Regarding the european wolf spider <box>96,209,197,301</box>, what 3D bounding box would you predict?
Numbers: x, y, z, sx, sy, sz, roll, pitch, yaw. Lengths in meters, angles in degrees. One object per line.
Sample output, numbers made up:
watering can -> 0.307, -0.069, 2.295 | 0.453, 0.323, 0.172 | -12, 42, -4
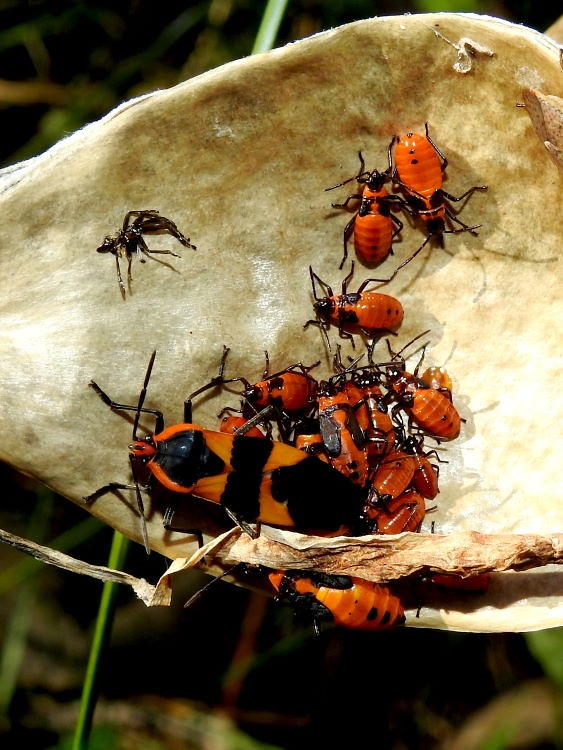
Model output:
european wolf spider -> -0.670, -0.614, 4.343 | 0.499, 0.431, 0.372 | -10, 107, -23

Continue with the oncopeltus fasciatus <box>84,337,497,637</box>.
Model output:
oncopeltus fasciatus -> 0.083, 0.460, 4.278 | 2.114, 0.481, 1.263 | 4, 105, -7

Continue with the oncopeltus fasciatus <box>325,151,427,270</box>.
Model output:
oncopeltus fasciatus -> 0.449, -0.790, 4.426 | 0.497, 0.141, 0.476 | 2, 102, -7

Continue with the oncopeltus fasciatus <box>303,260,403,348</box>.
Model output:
oncopeltus fasciatus -> 0.355, -0.326, 4.427 | 0.594, 0.137, 0.383 | 2, 101, 0
